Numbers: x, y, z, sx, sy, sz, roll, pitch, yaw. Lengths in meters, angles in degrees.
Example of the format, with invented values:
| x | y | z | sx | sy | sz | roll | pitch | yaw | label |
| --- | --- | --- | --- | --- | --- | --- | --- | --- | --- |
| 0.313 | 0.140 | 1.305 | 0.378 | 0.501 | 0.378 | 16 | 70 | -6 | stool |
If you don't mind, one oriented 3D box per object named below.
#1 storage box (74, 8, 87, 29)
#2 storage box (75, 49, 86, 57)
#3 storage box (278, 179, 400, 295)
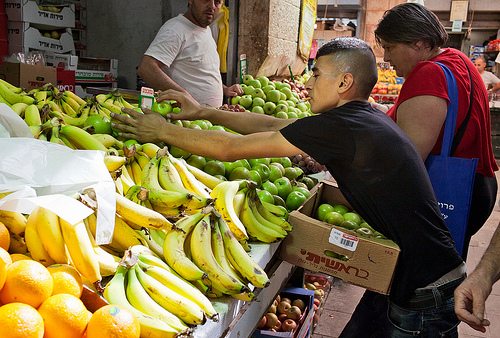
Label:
| x | y | z | sx | sy | sz | roll | pitch | yaw | label |
| --- | --- | --- | --- | --- | --- | --- | --- | --- | --- |
| -3.421 | -3.034 | 7.374 | 0.214 | 0.410 | 0.153 | 0 | 11 | -39 | storage box |
| -3.549 | -2.445 | 7.637 | 0.190 | 0.201 | 0.145 | 2 | -1 | -16 | storage box |
| 0.465 | 0.424 | 2.005 | 0.560 | 0.241 | 0.583 | 24 | 11 | 10 | storage box |
